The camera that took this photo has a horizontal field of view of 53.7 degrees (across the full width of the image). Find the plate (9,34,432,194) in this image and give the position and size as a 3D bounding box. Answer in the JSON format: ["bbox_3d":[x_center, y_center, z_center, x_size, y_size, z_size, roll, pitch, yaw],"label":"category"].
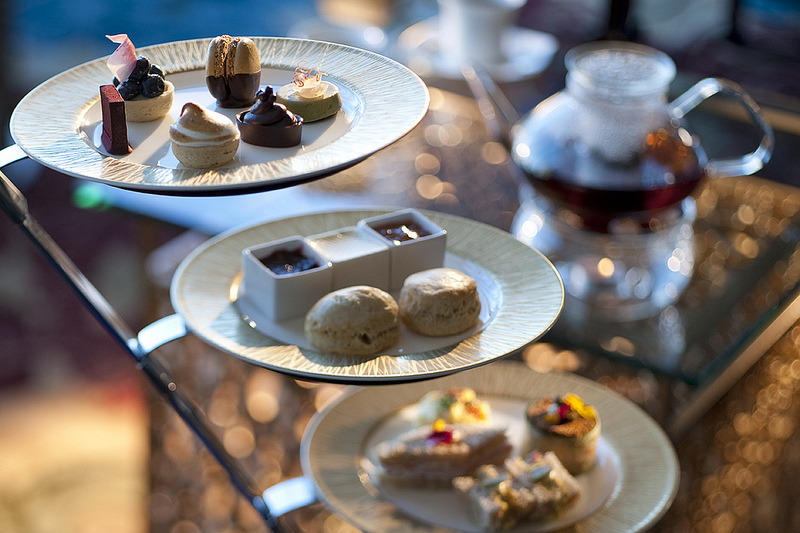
[{"bbox_3d":[-0.187,-0.159,0.865,0.350,0.042,0.252,-18,45,-27],"label":"plate"}]

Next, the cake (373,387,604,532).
[{"bbox_3d":[0.095,0.226,0.908,0.176,0.054,0.175,-20,40,-27],"label":"cake"}]

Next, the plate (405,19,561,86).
[{"bbox_3d":[0.148,-0.414,1.535,0.202,0.037,0.217,15,30,23],"label":"plate"}]

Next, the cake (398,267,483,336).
[{"bbox_3d":[0.043,0.019,0.835,0.073,0.044,0.073,-6,29,-8],"label":"cake"}]

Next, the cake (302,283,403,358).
[{"bbox_3d":[-0.048,0.059,0.822,0.074,0.044,0.075,5,24,10],"label":"cake"}]
